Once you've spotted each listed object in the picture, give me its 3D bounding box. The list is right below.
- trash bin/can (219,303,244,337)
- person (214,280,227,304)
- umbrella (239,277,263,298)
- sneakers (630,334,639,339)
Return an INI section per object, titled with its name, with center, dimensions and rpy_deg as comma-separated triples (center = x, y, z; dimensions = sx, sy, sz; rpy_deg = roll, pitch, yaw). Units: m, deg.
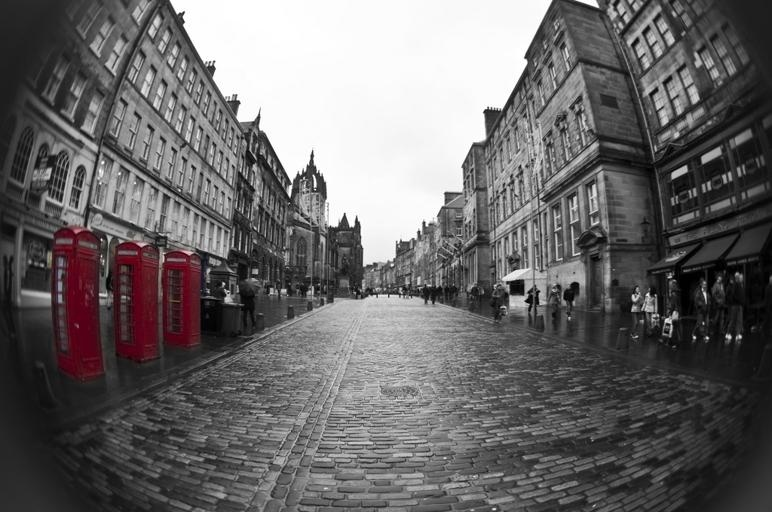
[trash bin/can]
center = -4.304, 1.806, 13.469
dimensions = 0.749, 1.188, 0.736
rpy_deg = 0, -1, 13
[person]
center = -4.884, 1.016, 13.946
dimensions = 0.324, 0.738, 1.302
rpy_deg = 3, -11, -19
[umbrella]
center = -4.330, 0.974, 15.083
dimensions = 0.605, 0.597, 0.788
rpy_deg = 4, -11, -23
[sneakers]
center = 6.654, 2.125, 12.597
dimensions = 0.178, 0.084, 0.127
rpy_deg = -3, -8, 33
